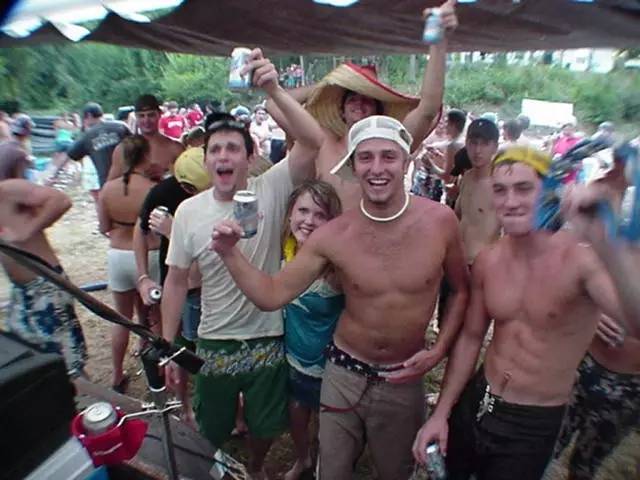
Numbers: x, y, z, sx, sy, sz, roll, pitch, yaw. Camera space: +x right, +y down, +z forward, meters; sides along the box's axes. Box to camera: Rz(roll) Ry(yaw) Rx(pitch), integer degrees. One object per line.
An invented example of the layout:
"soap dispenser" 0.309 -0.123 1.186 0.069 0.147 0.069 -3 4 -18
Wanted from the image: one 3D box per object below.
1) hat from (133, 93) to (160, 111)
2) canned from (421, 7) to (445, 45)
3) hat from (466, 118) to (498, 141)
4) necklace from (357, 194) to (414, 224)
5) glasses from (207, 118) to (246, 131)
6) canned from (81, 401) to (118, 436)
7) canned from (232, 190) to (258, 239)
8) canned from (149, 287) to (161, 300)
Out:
"hat" -2.026 -1.573 5.421 0.222 0.184 0.231 18 36 29
"canned" 0.749 -1.390 2.983 0.131 0.210 0.087 2 18 1
"hat" 1.729 -1.164 4.864 0.217 0.170 0.314 6 5 28
"necklace" 0.436 -0.216 2.982 0.342 0.169 0.207 1 18 -4
"glasses" -0.644 -0.805 3.208 0.155 0.055 0.177 -6 14 -2
"canned" -1.026 0.815 2.150 0.126 0.127 0.131 5 37 -2
"canned" -0.425 -0.141 2.659 0.147 0.264 0.099 -1 18 -9
"canned" -1.320 0.444 3.704 0.083 0.090 0.052 -1 -3 17
